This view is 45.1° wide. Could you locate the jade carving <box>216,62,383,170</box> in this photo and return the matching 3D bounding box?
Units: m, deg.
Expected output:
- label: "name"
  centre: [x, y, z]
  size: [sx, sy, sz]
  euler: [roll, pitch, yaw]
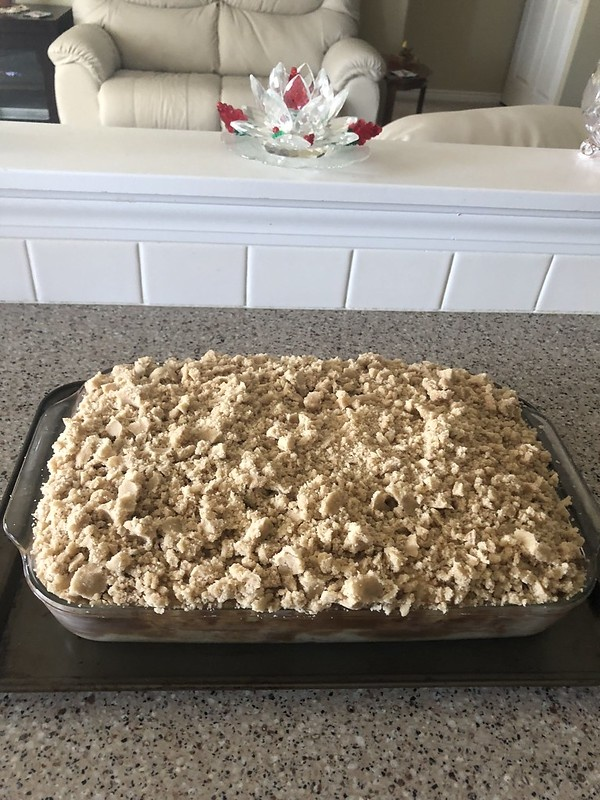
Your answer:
- label: "jade carving"
  centre: [-0.004, -0.463, 1.167]
  size: [0.237, 0.103, 0.207]
  euler: [3, 32, -3]
